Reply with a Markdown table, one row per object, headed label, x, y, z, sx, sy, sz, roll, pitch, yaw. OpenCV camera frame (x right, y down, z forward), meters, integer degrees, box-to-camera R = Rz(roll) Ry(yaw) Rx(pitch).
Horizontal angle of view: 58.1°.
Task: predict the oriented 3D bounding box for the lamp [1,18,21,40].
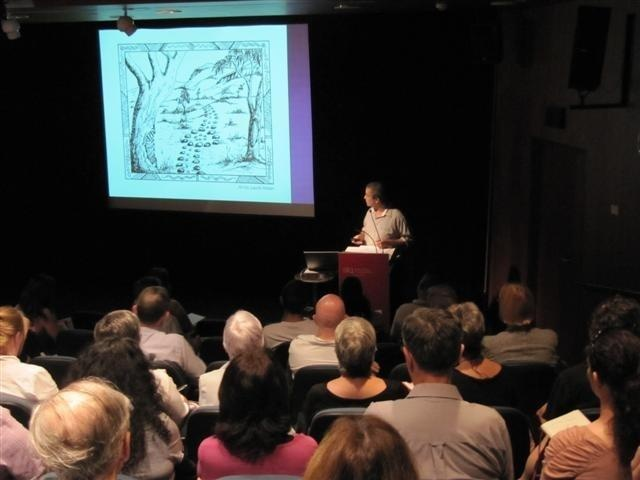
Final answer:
| label | x | y | z | sx | sy | sz | roll | pitch | yaw |
| --- | --- | --- | --- | --- | --- | --- | --- | --- | --- |
| lamp | -3.219 | -2.212 | 5.999 | 0.149 | 0.210 | 0.244 | -5 | 8 | -29 |
